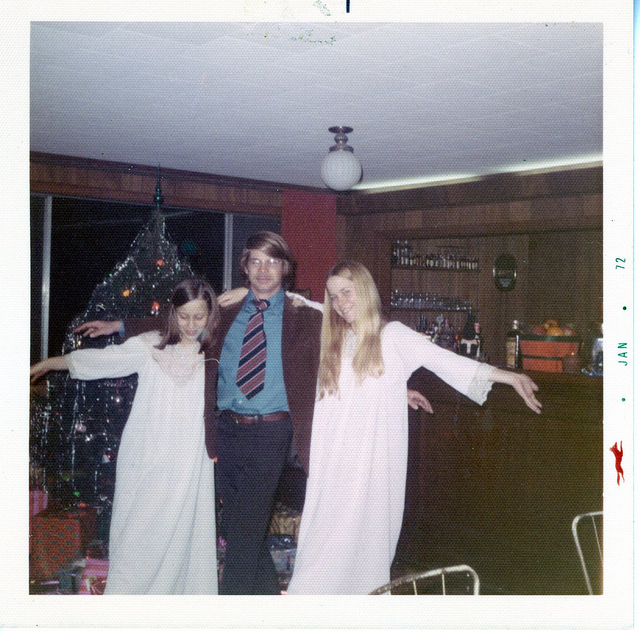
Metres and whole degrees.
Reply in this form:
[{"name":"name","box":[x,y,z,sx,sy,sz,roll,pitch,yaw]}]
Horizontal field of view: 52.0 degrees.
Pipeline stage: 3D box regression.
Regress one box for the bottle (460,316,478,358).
[{"name":"bottle","box":[1.280,0.198,5.751,0.120,0.366,0.142,13,37,12]}]

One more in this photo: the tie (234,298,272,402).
[{"name":"tie","box":[-0.275,0.159,2.635,0.134,0.322,0.079,-3,8,-9]}]
